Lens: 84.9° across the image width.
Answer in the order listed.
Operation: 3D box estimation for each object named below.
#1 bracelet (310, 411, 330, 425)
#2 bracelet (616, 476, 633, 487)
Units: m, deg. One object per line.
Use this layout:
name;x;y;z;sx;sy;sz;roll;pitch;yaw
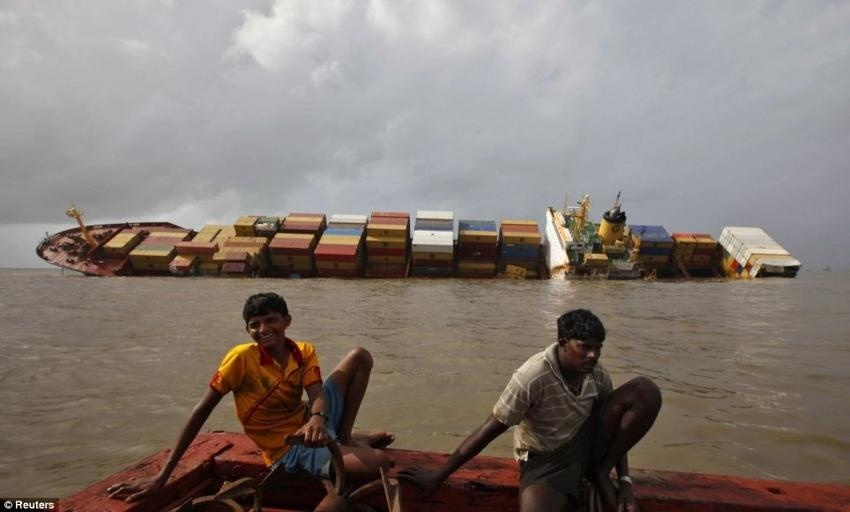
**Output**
bracelet;-1.348;2.106;6.098;0.194;0.067;0.184;5;-4;4
bracelet;2.610;2.911;6.048;0.142;0.064;0.178;7;2;44
